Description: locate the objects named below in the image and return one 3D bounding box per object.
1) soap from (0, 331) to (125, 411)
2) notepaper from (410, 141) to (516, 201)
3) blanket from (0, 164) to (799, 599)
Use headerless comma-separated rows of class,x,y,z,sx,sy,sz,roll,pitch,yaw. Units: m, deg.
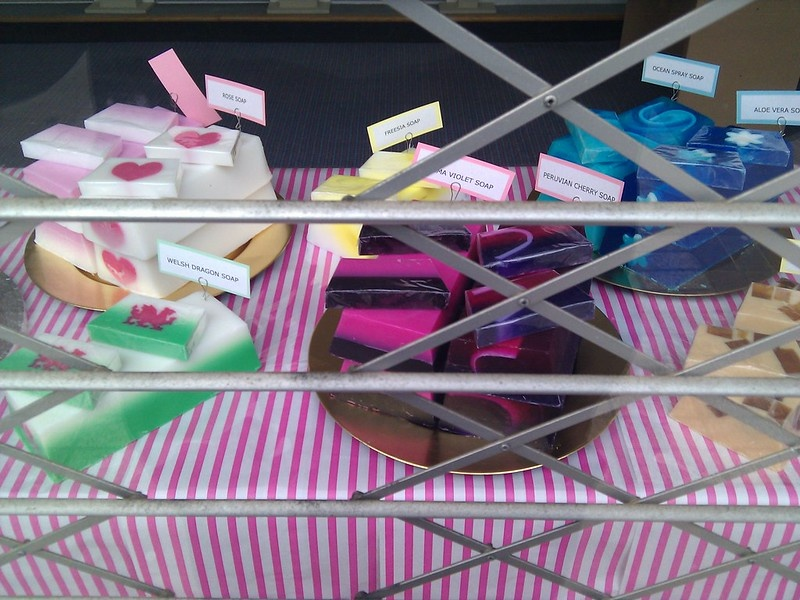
soap,-0.623,0.116,1.217,0.214,0.159,0.038,13,-44,9
notepaper,0.124,-0.243,1.250,0.242,0.068,0.002,9,10,-36
blanket,-0.010,0.098,1.149,1.598,0.632,0.294,2,-48,4
